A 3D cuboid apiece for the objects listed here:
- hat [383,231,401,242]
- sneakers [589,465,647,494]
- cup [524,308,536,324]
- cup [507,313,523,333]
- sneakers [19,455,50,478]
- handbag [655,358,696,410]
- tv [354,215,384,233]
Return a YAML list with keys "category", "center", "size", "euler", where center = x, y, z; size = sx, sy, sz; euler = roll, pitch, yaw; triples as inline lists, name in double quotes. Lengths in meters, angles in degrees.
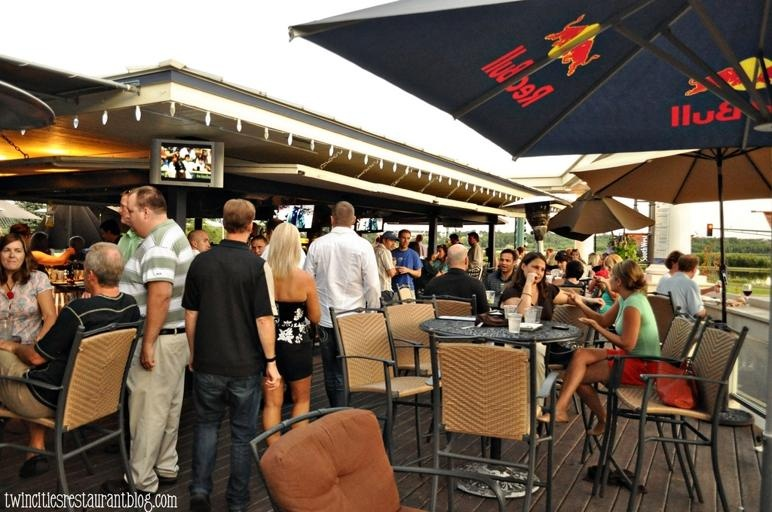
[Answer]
- category: "hat"
  center: [0.101, -0.386, 11.310]
  size: [0.305, 0.128, 0.397]
  euler: [-1, 1, -13]
- category: "sneakers"
  center: [2.258, 2.205, 5.355]
  size: [0.410, 0.081, 0.261]
  euler: [-3, 31, 40]
- category: "cup"
  center: [1.401, 0.587, 5.285]
  size: [0.140, 0.138, 0.143]
  euler: [0, 1, 0]
- category: "cup"
  center: [1.184, 0.629, 5.023]
  size: [0.180, 0.169, 0.167]
  euler: [1, -3, 0]
- category: "sneakers"
  center: [-3.418, 2.054, 5.332]
  size: [0.202, 0.111, 0.337]
  euler: [4, -7, 4]
- category: "handbag"
  center: [2.666, 1.178, 5.030]
  size: [0.372, 0.443, 0.166]
  euler: [-3, -35, 10]
- category: "tv"
  center: [-0.544, -0.930, 16.162]
  size: [1.252, 0.620, 0.156]
  euler: [4, -18, -22]
